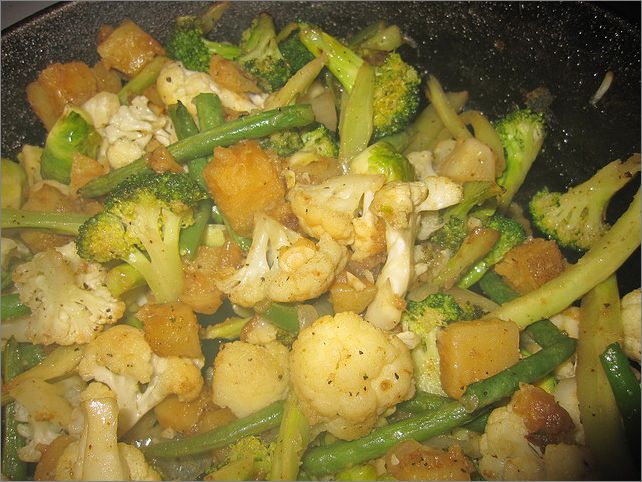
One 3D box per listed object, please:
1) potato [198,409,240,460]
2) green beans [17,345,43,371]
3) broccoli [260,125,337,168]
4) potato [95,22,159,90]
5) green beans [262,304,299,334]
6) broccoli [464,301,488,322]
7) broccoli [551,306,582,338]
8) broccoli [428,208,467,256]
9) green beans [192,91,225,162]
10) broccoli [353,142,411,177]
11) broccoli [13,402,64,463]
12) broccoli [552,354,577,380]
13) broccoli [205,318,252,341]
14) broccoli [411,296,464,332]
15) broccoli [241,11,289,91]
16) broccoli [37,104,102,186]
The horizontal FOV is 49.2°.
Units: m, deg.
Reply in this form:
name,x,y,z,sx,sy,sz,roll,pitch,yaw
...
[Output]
name,x,y,z,sx,sy,sz,roll,pitch,yaw
potato,-0.715,1.376,4.949,0.246,0.080,0.256,-18,34,-5
green beans,-2.097,0.840,5.050,0.171,0.051,0.173,-36,89,-14
broccoli,-0.128,-0.730,5.260,0.378,0.298,0.169,-3,77,2
potato,-1.454,-1.442,5.302,0.438,0.228,0.304,-36,74,-10
green beans,-0.281,0.542,4.937,0.246,0.065,0.166,23,106,-15
broccoli,1.090,0.515,5.090,0.108,0.043,0.118,-13,67,-9
broccoli,1.763,0.567,5.060,0.201,0.065,0.222,9,72,4
broccoli,0.959,-0.066,5.149,0.262,0.125,0.278,29,105,11
green beans,-0.844,-0.837,5.192,0.247,0.168,0.468,-2,86,0
broccoli,0.447,-0.534,5.159,0.296,0.300,0.165,41,122,10
broccoli,-2.058,1.369,5.063,0.371,0.105,0.393,31,102,15
broccoli,1.763,0.924,5.023,0.176,0.136,0.062,-44,99,5
broccoli,-0.704,0.665,5.198,0.270,0.068,0.183,-21,74,1
broccoli,0.815,0.528,5.052,0.277,0.097,0.236,-14,53,15
broccoli,-0.436,-1.464,5.257,0.386,0.209,0.554,-5,86,-4
broccoli,-1.863,-0.708,5.141,0.347,0.164,0.562,16,93,-16
